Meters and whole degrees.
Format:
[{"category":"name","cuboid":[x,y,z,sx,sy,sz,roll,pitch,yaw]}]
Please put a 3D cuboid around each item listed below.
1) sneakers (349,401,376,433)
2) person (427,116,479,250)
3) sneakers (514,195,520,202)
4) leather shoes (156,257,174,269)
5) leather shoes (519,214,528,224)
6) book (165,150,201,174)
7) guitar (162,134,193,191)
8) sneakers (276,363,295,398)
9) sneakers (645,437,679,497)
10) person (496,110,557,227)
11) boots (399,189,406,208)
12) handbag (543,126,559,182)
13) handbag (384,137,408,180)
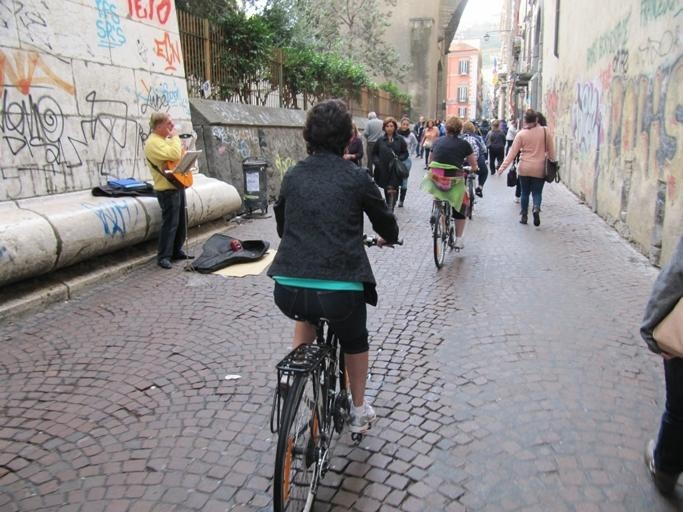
[{"category":"sneakers","cuboid":[0.141,1.036,3.342,0.103,0.205,0.287,2,15,20]},{"category":"person","cuboid":[1.699,-1.082,7.749,0.723,2.066,0.774,4,15,20]},{"category":"sneakers","cuboid":[4.601,-1.490,13.183,0.084,0.121,0.260,2,-6,39]},{"category":"leather shoes","cuboid":[-2.692,0.113,7.677,0.297,0.133,0.115,7,16,34]},{"category":"leather shoes","cuboid":[3.787,-0.778,10.449,0.097,0.201,0.312,2,21,11]},{"category":"book","cuboid":[-2.368,-1.414,7.536,0.100,0.408,0.380,30,24,21]},{"category":"guitar","cuboid":[-2.493,-1.335,7.579,0.146,0.602,0.328,-11,1,21]},{"category":"sneakers","cuboid":[-0.277,0.634,2.515,0.085,0.191,0.118,-3,14,-8]},{"category":"sneakers","cuboid":[1.879,1.260,3.025,0.110,0.144,0.354,2,33,11]},{"category":"person","cuboid":[3.936,-1.853,10.363,0.962,2.292,1.505,5,15,23]},{"category":"boots","cuboid":[1.523,-1.444,12.560,0.160,0.524,0.423,3,-18,10]},{"category":"handbag","cuboid":[4.298,-2.066,10.250,0.286,1.124,0.532,6,16,29]},{"category":"handbag","cuboid":[1.296,-2.167,11.325,0.474,0.925,0.365,5,-3,20]}]
